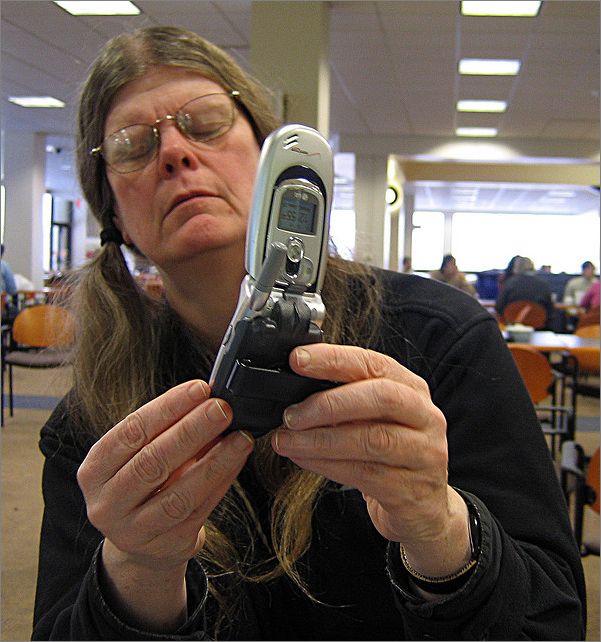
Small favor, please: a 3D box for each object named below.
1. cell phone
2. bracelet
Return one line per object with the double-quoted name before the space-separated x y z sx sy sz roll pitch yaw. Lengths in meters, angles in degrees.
"cell phone" -0.017 -0.030 0.483 0.098 0.247 0.064 2 5 -11
"bracelet" 0.132 0.213 0.583 0.067 0.077 0.028 -10 -39 24
